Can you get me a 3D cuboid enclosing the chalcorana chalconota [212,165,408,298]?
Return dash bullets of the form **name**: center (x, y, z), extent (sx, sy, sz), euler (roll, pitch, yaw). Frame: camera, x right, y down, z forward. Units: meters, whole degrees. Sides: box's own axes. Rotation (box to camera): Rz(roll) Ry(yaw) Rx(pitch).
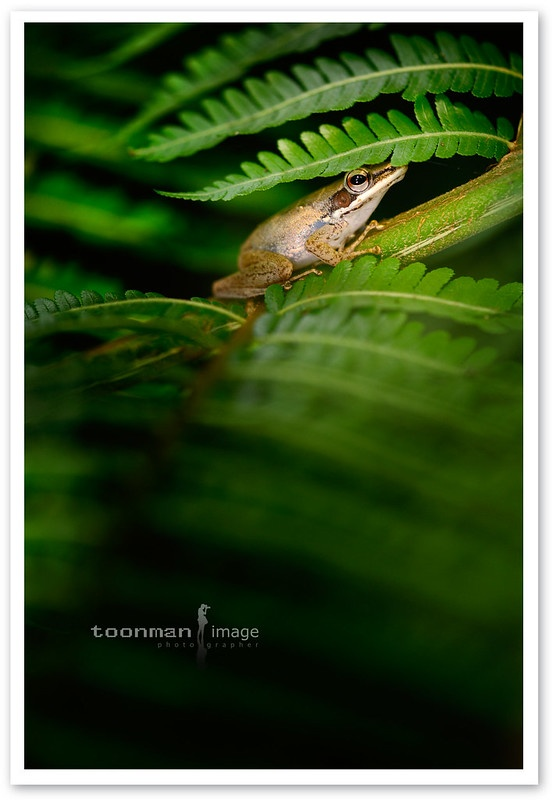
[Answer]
- **chalcorana chalconota**: center (0.086, -0.375, 1.750), extent (0.390, 0.143, 0.313), euler (-23, 10, 13)
